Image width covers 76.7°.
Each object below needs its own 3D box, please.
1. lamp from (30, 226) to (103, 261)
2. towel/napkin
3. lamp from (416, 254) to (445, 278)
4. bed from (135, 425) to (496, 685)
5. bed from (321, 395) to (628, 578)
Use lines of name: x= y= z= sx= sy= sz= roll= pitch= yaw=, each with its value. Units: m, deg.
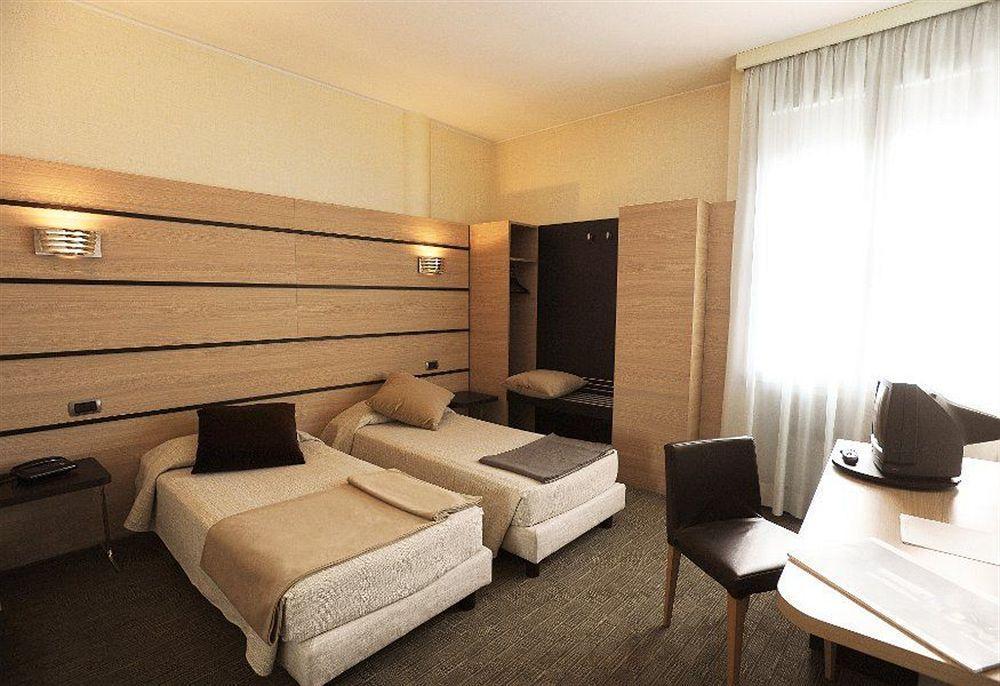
lamp: x=-2.867 y=-0.666 z=4.216 sx=0.389 sy=0.198 sz=0.099 roll=-5 pitch=8 yaw=-32
towel/napkin: x=0.342 y=0.830 z=4.638 sx=0.568 sy=0.146 sz=0.846 roll=5 pitch=8 yaw=44
lamp: x=-0.645 y=-0.734 z=5.973 sx=0.239 sy=0.155 sz=0.083 roll=0 pitch=0 yaw=-31
bed: x=-1.383 y=1.184 z=3.888 sx=1.713 sy=0.517 sz=1.274 roll=6 pitch=8 yaw=39
bed: x=-0.319 y=0.918 z=4.786 sx=1.837 sy=0.505 sz=1.112 roll=7 pitch=11 yaw=36
